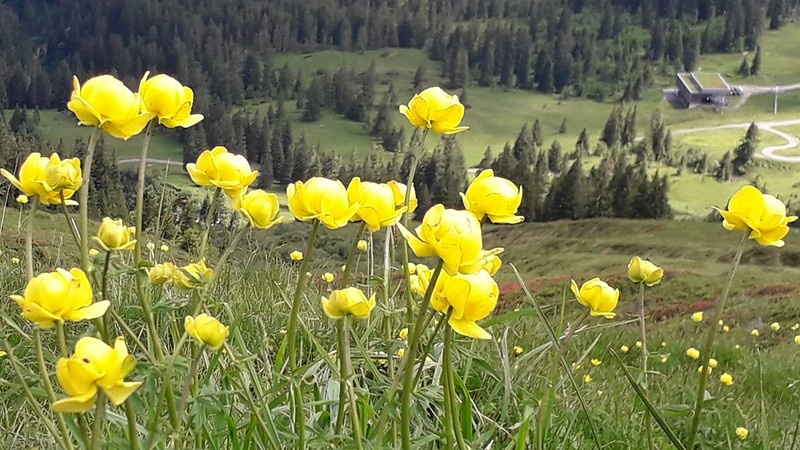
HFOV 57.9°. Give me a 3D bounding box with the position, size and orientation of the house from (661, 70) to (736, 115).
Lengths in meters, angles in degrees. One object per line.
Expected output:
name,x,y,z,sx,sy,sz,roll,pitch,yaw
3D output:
house,87.611,-38.499,209.908,16.800,9.839,12.484,11,15,18
